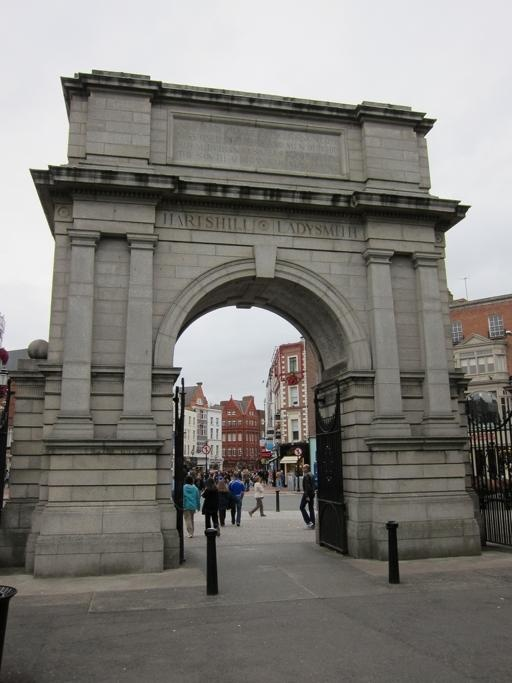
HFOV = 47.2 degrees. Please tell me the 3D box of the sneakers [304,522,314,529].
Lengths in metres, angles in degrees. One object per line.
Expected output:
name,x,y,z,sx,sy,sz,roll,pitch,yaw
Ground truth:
sneakers,1.749,5.843,18.686,0.364,0.129,0.255,18,25,0
